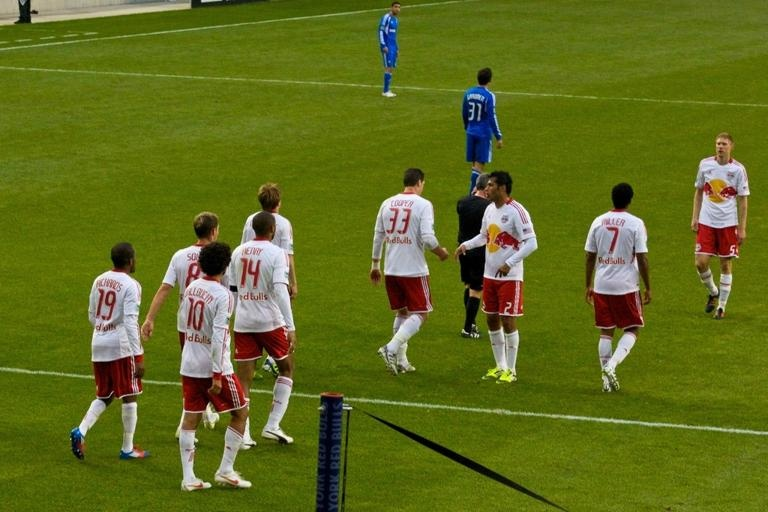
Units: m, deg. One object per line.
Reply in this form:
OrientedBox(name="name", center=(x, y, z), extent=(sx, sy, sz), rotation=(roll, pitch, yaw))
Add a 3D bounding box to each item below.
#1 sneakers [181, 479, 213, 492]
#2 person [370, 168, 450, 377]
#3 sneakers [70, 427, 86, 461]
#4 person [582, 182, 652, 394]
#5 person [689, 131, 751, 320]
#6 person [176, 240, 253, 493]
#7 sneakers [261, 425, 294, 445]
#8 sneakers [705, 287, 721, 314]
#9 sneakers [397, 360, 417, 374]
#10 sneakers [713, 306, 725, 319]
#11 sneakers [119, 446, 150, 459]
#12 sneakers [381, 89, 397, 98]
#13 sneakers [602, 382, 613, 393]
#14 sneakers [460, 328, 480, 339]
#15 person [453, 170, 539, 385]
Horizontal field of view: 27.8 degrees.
OrientedBox(name="sneakers", center=(-3.016, 3.622, 24.954), extent=(0.518, 0.168, 0.177), rotation=(-2, 14, -14))
OrientedBox(name="person", center=(0.447, 0.216, 27.955), extent=(1.189, 3.601, 1.008), rotation=(-2, 11, -21))
OrientedBox(name="sneakers", center=(-5.000, 2.997, 25.292), extent=(0.299, 0.508, 0.195), rotation=(-8, 7, -3))
OrientedBox(name="person", center=(4.174, 0.498, 27.468), extent=(0.888, 3.596, 0.920), rotation=(-3, 11, -26))
OrientedBox(name="person", center=(6.487, -0.635, 29.942), extent=(0.995, 3.455, 0.824), rotation=(4, 10, 10))
OrientedBox(name="person", center=(-2.733, 1.715, 25.064), extent=(1.084, 3.890, 1.082), rotation=(1, 10, -7))
OrientedBox(name="sneakers", center=(-1.800, 2.931, 25.949), extent=(0.629, 0.281, 0.215), rotation=(12, 3, -10))
OrientedBox(name="sneakers", center=(6.423, 0.840, 30.166), extent=(0.172, 0.495, 0.224), rotation=(11, -33, 46))
OrientedBox(name="sneakers", center=(0.426, 1.973, 27.897), extent=(0.138, 0.155, 0.406), rotation=(3, 4, 36))
OrientedBox(name="sneakers", center=(6.486, 1.047, 29.870), extent=(0.214, 0.227, 0.244), rotation=(4, 10, 11))
OrientedBox(name="sneakers", center=(-4.108, 3.215, 25.598), extent=(0.529, 0.196, 0.178), rotation=(-3, 13, -10))
OrientedBox(name="sneakers", center=(0.162, -4.566, 43.322), extent=(0.463, 0.182, 0.156), rotation=(0, 37, 1))
OrientedBox(name="sneakers", center=(3.960, 2.250, 27.265), extent=(0.195, 0.208, 0.188), rotation=(4, 15, 27))
OrientedBox(name="sneakers", center=(1.656, 1.418, 29.247), extent=(0.440, 0.260, 0.143), rotation=(-3, 7, 1))
OrientedBox(name="person", center=(2.107, 0.315, 27.668), extent=(1.071, 3.698, 0.683), rotation=(11, 14, 42))
